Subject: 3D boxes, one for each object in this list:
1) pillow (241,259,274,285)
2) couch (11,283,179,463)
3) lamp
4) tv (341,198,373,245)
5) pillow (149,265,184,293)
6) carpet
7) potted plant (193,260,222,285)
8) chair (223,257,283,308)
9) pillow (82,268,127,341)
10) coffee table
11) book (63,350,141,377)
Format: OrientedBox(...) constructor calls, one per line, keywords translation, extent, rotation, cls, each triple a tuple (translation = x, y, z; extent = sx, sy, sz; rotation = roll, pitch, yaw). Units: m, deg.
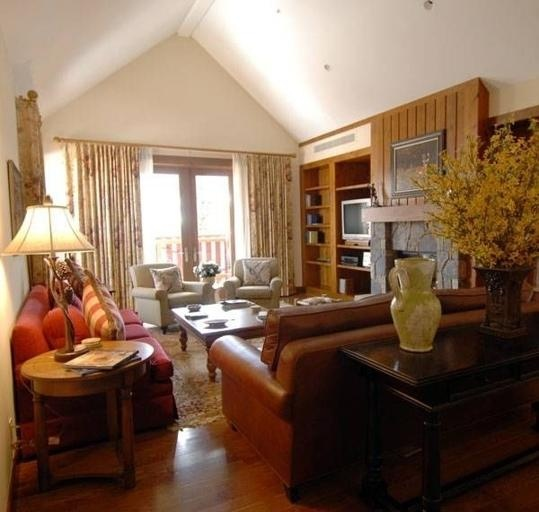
OrientedBox(translation=(-0.156, 0.230, 6.278), extent=(0.318, 0.315, 0.119), rotation=(1, -31, 8), cls="pillow")
OrientedBox(translation=(-1.427, 0.660, 3.528), extent=(0.985, 0.804, 1.787), rotation=(-4, 5, -29), cls="couch")
OrientedBox(translation=(-1.186, 0.120, 2.499), extent=(0.452, 0.881, 0.419), rotation=(-6, 8, -25), cls="lamp")
OrientedBox(translation=(1.239, -0.495, 6.586), extent=(0.164, 0.628, 0.729), rotation=(-4, 7, -14), cls="tv")
OrientedBox(translation=(-1.284, 0.295, 5.654), extent=(0.271, 0.289, 0.104), rotation=(-9, -21, -37), cls="pillow")
OrientedBox(translation=(-0.423, 0.848, 3.090), extent=(0.747, 0.183, 0.750), rotation=(0, -2, -37), cls="carpet")
OrientedBox(translation=(-0.815, 0.230, 6.032), extent=(0.317, 0.319, 0.324), rotation=(0, -3, 3), cls="potted plant")
OrientedBox(translation=(-0.200, 0.382, 6.211), extent=(0.711, 0.830, 0.655), rotation=(-1, -7, 1), cls="chair")
OrientedBox(translation=(-1.287, 0.359, 3.576), extent=(0.160, 0.352, 0.564), rotation=(-9, 12, -18), cls="pillow")
OrientedBox(translation=(-0.387, 0.826, 4.068), extent=(0.535, 0.293, 0.810), rotation=(-1, 1, -29), cls="coffee table")
OrientedBox(translation=(-0.843, 0.534, 2.317), extent=(0.336, 0.044, 0.208), rotation=(-4, 7, -10), cls="book")
